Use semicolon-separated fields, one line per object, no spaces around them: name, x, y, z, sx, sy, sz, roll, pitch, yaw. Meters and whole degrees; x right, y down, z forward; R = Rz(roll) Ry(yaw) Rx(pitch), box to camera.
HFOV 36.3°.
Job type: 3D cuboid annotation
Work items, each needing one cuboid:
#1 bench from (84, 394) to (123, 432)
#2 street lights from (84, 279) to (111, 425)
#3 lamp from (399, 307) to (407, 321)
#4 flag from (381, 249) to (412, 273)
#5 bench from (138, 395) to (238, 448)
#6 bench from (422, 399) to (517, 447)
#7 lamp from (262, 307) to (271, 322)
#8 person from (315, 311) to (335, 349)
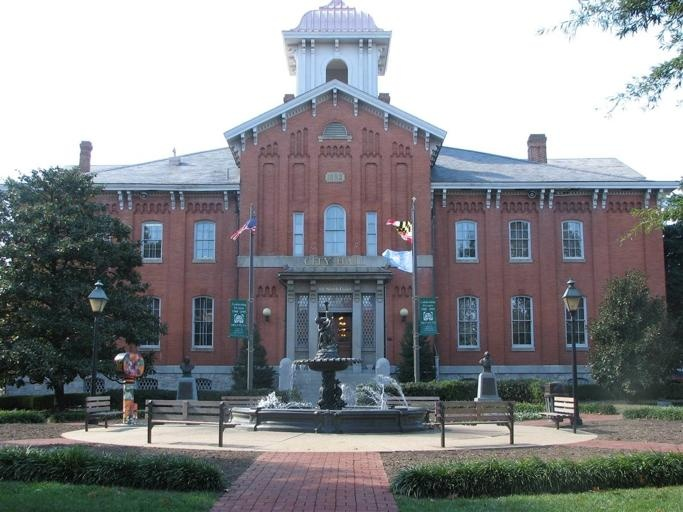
bench;-8.226;5.314;35.236;0.820;1.235;3.220;1;-11;-14
street lights;-8.664;3.200;36.793;0.948;4.646;0.878;4;0;17
lamp;2.897;2.635;48.570;0.434;0.638;0.307;-4;-10;15
flag;2.506;0.231;47.365;1.100;0.994;0.370;0;-13;-2
bench;-4.726;5.241;32.773;2.656;1.480;4.278;0;-10;-6
bench;3.983;5.126;32.224;2.712;1.322;0.996;3;-6;-22
lamp;-3.472;2.652;48.592;0.438;0.691;0.511;0;-10;-5
person;-0.535;2.561;35.501;0.641;1.332;1.392;-1;-10;-1
